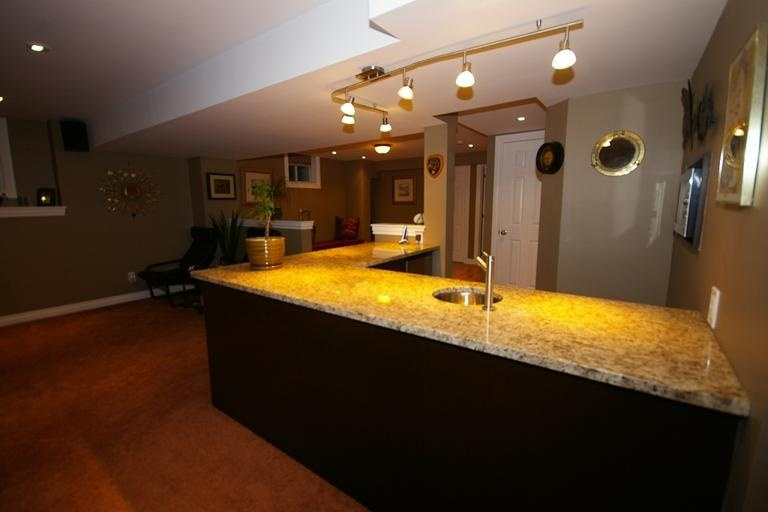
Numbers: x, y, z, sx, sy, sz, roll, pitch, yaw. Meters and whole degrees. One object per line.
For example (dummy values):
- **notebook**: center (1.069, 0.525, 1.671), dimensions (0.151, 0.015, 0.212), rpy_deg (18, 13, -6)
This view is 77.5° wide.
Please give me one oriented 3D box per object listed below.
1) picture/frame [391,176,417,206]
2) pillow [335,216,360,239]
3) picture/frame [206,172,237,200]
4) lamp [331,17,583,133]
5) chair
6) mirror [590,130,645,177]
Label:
- **picture/frame**: center (0.471, -1.468, 10.609), dimensions (0.044, 0.641, 0.613), rpy_deg (-12, 15, -43)
- **pillow**: center (-0.794, -0.603, 10.238), dimensions (0.479, 0.496, 0.264), rpy_deg (-1, -8, 9)
- **picture/frame**: center (-2.672, -1.145, 7.784), dimensions (0.037, 0.361, 0.476), rpy_deg (1, 5, 28)
- **lamp**: center (0.601, -1.542, 4.317), dimensions (2.163, 0.784, 1.336), rpy_deg (5, 15, 21)
- **chair**: center (-3.035, 0.142, 7.073), dimensions (0.692, 1.074, 0.969), rpy_deg (14, 19, 40)
- **mirror**: center (2.431, -1.010, 4.965), dimensions (0.537, 0.157, 0.562), rpy_deg (-7, -35, 25)
